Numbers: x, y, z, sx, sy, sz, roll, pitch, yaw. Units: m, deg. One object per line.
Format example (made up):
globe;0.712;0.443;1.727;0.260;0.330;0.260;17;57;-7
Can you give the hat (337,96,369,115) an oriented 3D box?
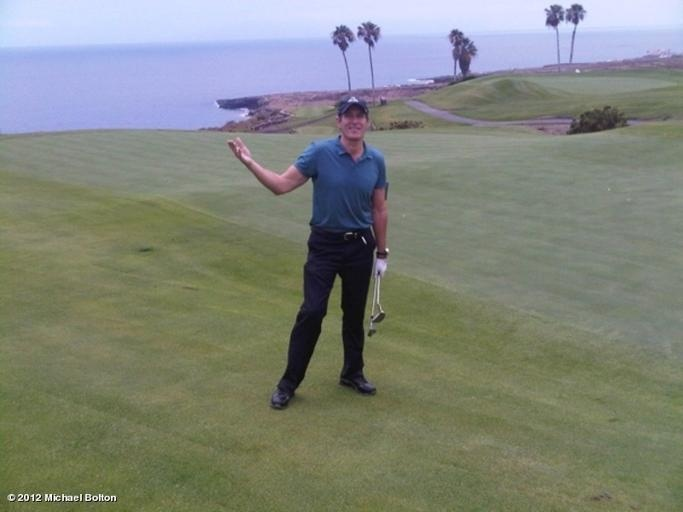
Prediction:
hat;0.094;-1.316;5.672;0.243;0.156;0.336;-1;15;4

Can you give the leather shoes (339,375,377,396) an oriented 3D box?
leather shoes;0.151;1.174;5.918;0.288;0.128;0.151;12;15;29

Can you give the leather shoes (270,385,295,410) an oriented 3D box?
leather shoes;-0.517;1.200;5.485;0.134;0.144;0.202;2;16;17

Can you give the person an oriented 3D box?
person;-0.095;-0.063;5.739;1.387;2.594;0.749;-9;17;-23

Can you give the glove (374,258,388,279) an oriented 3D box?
glove;0.366;0.114;6.224;0.138;0.185;0.070;4;0;0

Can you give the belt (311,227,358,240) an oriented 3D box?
belt;-0.059;-0.195;5.663;0.416;0.123;0.090;-1;16;6
